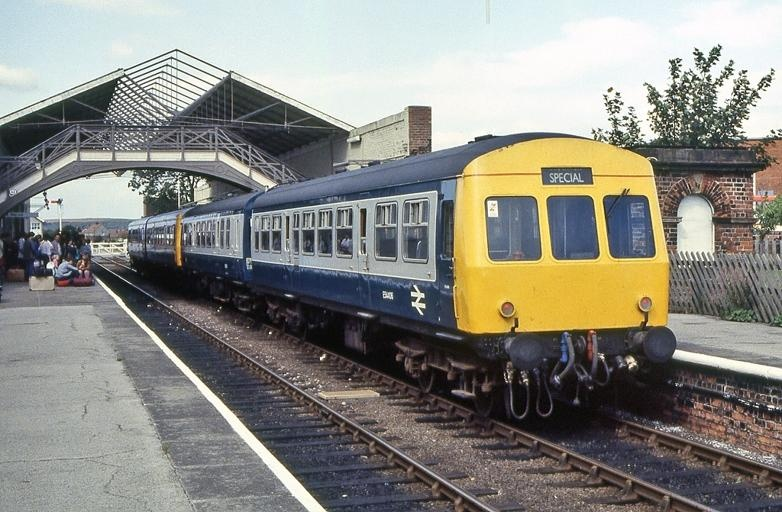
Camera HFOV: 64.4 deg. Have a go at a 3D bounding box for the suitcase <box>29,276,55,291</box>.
[{"bbox_3d":[-14.621,1.125,26.025,0.844,0.615,0.620,-1,1,-38],"label":"suitcase"}]

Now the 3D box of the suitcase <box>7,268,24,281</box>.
[{"bbox_3d":[-18.489,0.914,30.642,0.926,0.689,0.524,7,10,39],"label":"suitcase"}]
